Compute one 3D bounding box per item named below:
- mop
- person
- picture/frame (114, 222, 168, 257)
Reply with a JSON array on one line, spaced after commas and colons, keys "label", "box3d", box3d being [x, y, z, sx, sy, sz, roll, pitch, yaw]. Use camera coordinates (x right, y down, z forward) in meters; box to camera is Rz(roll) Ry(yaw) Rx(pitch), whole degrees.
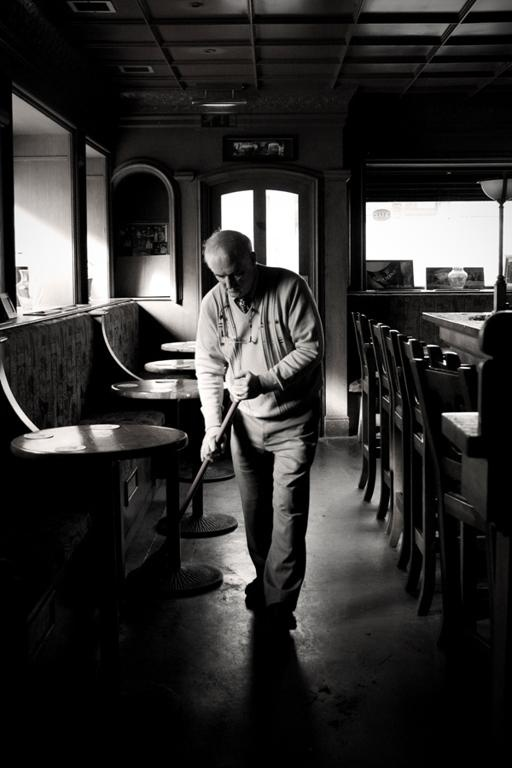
[{"label": "mop", "box3d": [-0.333, 0.524, 2.751, 0.364, 1.037, 0.491, 0, 7, -19]}, {"label": "person", "box3d": [0.020, 0.214, 2.500, 0.493, 1.586, 0.551, -1, 2, -7]}, {"label": "picture/frame", "box3d": [-1.287, -1.638, 6.997, 0.599, 0.357, 0.067, 0, 2, 8]}]
